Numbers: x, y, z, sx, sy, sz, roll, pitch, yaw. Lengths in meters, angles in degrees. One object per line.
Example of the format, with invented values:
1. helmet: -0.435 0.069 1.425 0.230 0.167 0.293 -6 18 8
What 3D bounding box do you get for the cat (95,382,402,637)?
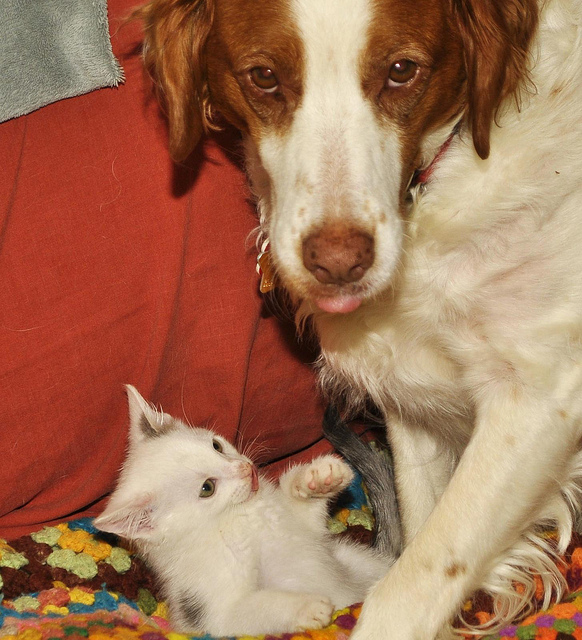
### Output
1. cat: -0.148 0.640 2.431 0.969 0.356 0.678 0 48 11
